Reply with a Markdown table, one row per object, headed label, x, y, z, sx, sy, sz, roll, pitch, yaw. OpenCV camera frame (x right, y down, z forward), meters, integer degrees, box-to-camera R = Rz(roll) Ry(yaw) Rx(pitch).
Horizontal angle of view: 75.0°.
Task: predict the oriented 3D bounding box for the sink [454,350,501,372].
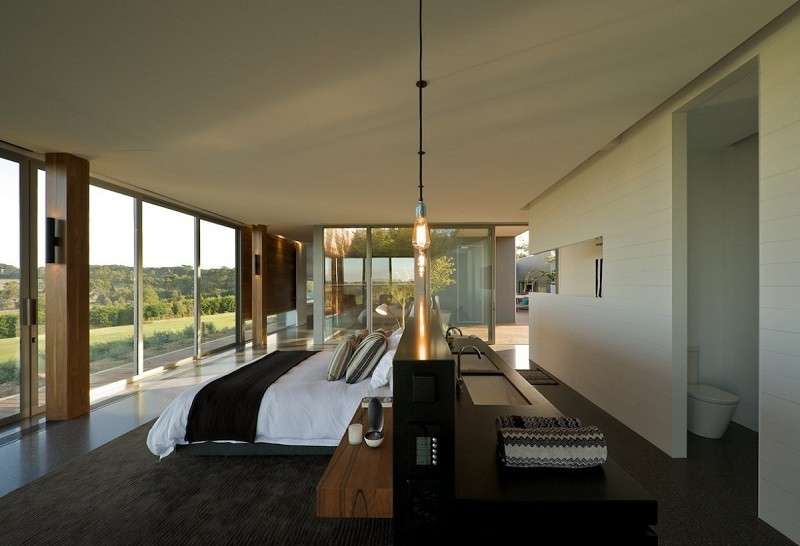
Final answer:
| label | x | y | z | sx | sy | sz | roll | pitch | yaw |
| --- | --- | --- | --- | --- | --- | --- | --- | --- | --- |
| sink | 0.801 | 0.927 | 5.332 | 0.356 | 0.143 | 0.618 | -3 | 0 | 5 |

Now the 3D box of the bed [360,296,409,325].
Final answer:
| label | x | y | z | sx | sy | sz | roll | pitch | yaw |
| --- | --- | --- | --- | --- | --- | --- | --- | --- | --- |
| bed | -0.194 | 0.759 | 10.672 | 0.829 | 0.604 | 1.203 | -3 | 0 | -42 |

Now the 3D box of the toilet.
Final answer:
| label | x | y | z | sx | sy | sz | roll | pitch | yaw |
| --- | --- | --- | --- | --- | --- | --- | --- | --- | --- |
| toilet | 3.473 | 1.326 | 5.898 | 0.424 | 0.911 | 0.745 | -4 | 2 | -19 |

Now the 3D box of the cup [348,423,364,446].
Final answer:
| label | x | y | z | sx | sy | sz | roll | pitch | yaw |
| --- | --- | --- | --- | --- | --- | --- | --- | --- | --- |
| cup | -0.363 | 1.375 | 4.433 | 0.133 | 0.156 | 0.147 | 1 | -8 | -1 |

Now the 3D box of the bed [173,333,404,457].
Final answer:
| label | x | y | z | sx | sy | sz | roll | pitch | yaw |
| --- | --- | --- | --- | --- | --- | --- | --- | --- | --- |
| bed | -1.105 | 1.193 | 6.457 | 2.099 | 1.376 | 2.254 | -2 | 2 | 15 |

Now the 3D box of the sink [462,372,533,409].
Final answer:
| label | x | y | z | sx | sy | sz | roll | pitch | yaw |
| --- | --- | --- | --- | --- | --- | --- | --- | --- | --- |
| sink | 0.849 | 1.070 | 4.667 | 0.462 | 0.226 | 0.754 | -3 | 0 | -6 |
